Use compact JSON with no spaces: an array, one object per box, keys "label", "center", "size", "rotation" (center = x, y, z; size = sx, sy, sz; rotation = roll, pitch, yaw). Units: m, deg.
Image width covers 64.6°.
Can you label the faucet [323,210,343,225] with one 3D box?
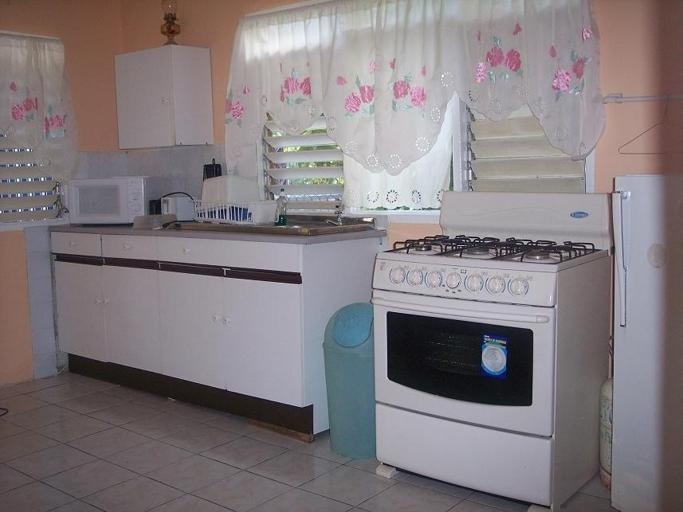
[{"label":"faucet","center":[-0.046,-0.242,3.526],"size":[0.128,0.138,0.078],"rotation":[-3,6,-24]}]

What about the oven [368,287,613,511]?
[{"label":"oven","center":[0.684,0.524,2.877],"size":[1.042,1.186,0.946],"rotation":[2,4,38]}]

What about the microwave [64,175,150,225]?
[{"label":"microwave","center":[-1.792,-0.412,4.112],"size":[0.660,0.349,0.165],"rotation":[2,9,19]}]

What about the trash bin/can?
[{"label":"trash bin/can","center":[0.036,0.672,2.873],"size":[0.265,0.795,0.213],"rotation":[-1,9,1]}]

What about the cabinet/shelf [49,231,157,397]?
[{"label":"cabinet/shelf","center":[-1.644,0.291,4.048],"size":[1.010,0.946,0.473],"rotation":[4,7,23]}]

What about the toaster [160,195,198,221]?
[{"label":"toaster","center":[-1.230,-0.360,4.058],"size":[0.255,0.203,0.364],"rotation":[0,8,3]}]

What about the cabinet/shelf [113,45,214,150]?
[{"label":"cabinet/shelf","center":[-1.352,-1.218,4.156],"size":[0.783,0.735,0.426],"rotation":[3,7,44]}]

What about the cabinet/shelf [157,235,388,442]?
[{"label":"cabinet/shelf","center":[-0.500,0.387,3.708],"size":[1.135,1.506,0.983],"rotation":[1,1,42]}]

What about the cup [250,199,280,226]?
[{"label":"cup","center":[-0.491,-0.277,3.524],"size":[0.137,0.179,0.252],"rotation":[3,7,28]}]
